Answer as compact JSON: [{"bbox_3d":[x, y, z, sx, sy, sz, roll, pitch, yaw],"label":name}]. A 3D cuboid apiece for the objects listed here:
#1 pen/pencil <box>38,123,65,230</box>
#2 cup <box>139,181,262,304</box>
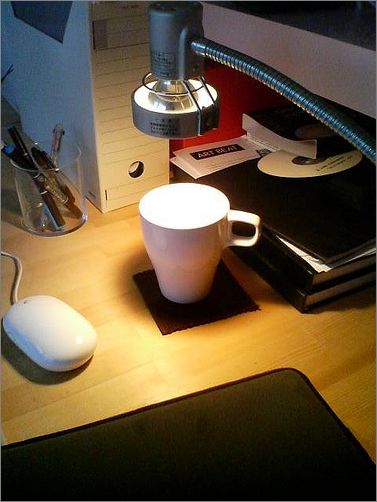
[{"bbox_3d":[-0.214,-0.094,0.634,0.023,0.206,0.027,6,21,6],"label":"pen/pencil"},{"bbox_3d":[0.014,-0.015,0.495,0.172,0.125,0.135,0,28,0],"label":"cup"}]
